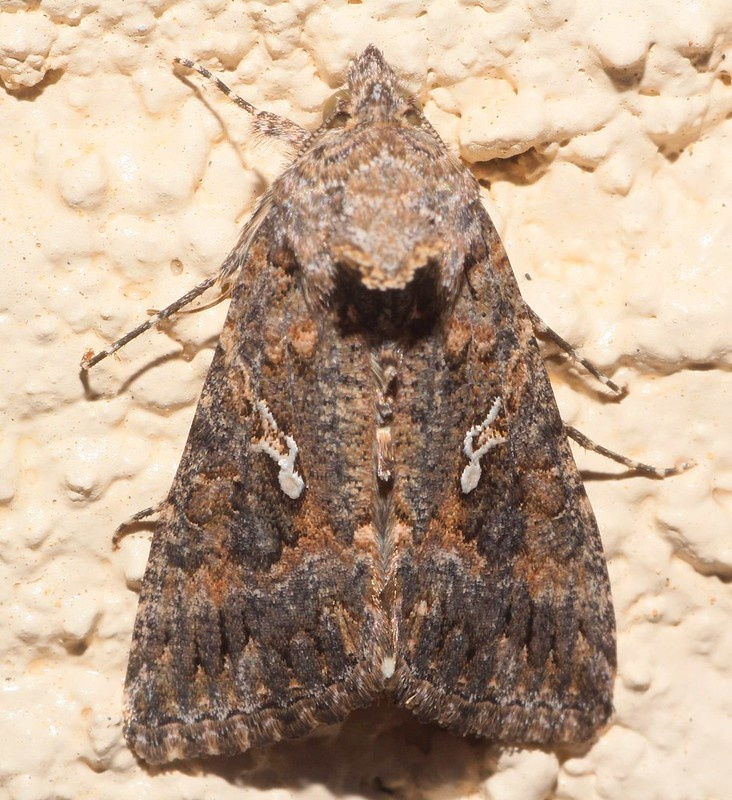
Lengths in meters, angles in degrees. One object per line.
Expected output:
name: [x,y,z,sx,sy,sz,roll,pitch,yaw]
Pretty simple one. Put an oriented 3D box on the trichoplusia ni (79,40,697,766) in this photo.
trichoplusia ni: [-0.051,0.178,4.616,1.686,0.995,1.884,-4,65,2]
